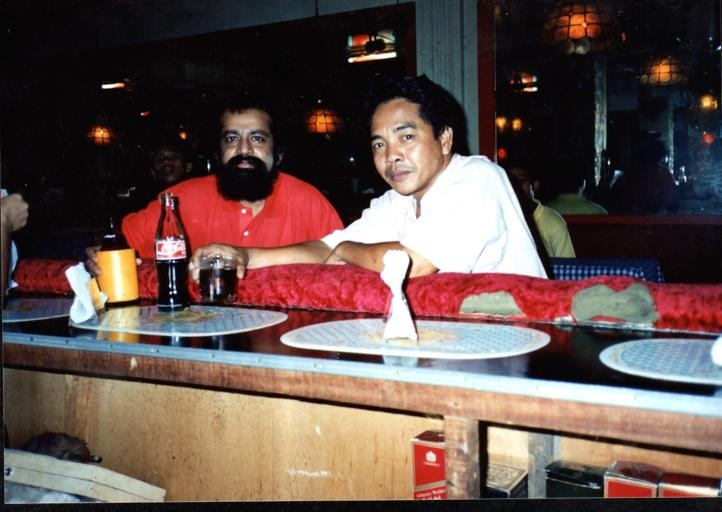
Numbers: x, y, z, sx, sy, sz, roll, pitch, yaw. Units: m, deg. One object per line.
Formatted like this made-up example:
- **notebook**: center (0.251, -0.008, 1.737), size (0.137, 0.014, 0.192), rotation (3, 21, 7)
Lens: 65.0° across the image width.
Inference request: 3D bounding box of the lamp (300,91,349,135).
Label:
- **lamp**: center (-0.353, -1.223, 4.781), size (0.275, 0.292, 0.284), rotation (23, 20, 23)

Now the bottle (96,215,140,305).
- **bottle**: center (-0.779, 0.012, 1.811), size (0.113, 0.264, 0.116), rotation (-4, 2, 0)

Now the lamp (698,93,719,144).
- **lamp**: center (2.860, -1.122, 4.654), size (0.161, 0.406, 0.041), rotation (6, 16, 30)

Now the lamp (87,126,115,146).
- **lamp**: center (-2.870, -1.283, 6.290), size (0.260, 0.141, 0.259), rotation (12, 9, 3)

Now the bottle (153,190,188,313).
- **bottle**: center (-0.617, -0.031, 1.830), size (0.108, 0.336, 0.378), rotation (-7, 14, -17)

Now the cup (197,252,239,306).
- **cup**: center (-0.452, 0.079, 1.817), size (0.152, 0.147, 0.121), rotation (8, -12, -40)

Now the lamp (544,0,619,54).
- **lamp**: center (1.413, -1.408, 3.613), size (0.353, 0.232, 0.344), rotation (0, 37, 12)

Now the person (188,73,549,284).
- **person**: center (0.065, -0.209, 2.375), size (1.513, 0.934, 0.835), rotation (-4, 10, 2)
